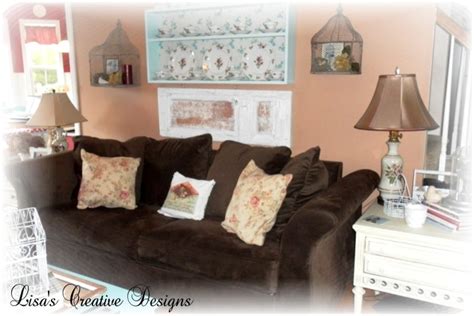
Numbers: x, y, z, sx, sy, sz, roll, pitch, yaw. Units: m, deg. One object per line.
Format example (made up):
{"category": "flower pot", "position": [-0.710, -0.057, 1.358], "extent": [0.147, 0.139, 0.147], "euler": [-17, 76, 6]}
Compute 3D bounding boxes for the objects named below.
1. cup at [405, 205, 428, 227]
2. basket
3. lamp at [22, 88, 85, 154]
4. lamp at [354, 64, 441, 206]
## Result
{"category": "cup", "position": [1.279, 0.426, 2.509], "extent": [0.143, 0.133, 0.141], "euler": [-2, 12, 0]}
{"category": "basket", "position": [1.252, 0.283, 2.679], "extent": [0.255, 0.281, 0.238], "euler": [-9, 9, -30]}
{"category": "lamp", "position": [-1.997, -0.394, 3.874], "extent": [0.616, 0.605, 0.588], "euler": [3, 14, 4]}
{"category": "lamp", "position": [1.219, -0.152, 2.709], "extent": [0.539, 1.083, 0.315], "euler": [0, 9, -12]}
